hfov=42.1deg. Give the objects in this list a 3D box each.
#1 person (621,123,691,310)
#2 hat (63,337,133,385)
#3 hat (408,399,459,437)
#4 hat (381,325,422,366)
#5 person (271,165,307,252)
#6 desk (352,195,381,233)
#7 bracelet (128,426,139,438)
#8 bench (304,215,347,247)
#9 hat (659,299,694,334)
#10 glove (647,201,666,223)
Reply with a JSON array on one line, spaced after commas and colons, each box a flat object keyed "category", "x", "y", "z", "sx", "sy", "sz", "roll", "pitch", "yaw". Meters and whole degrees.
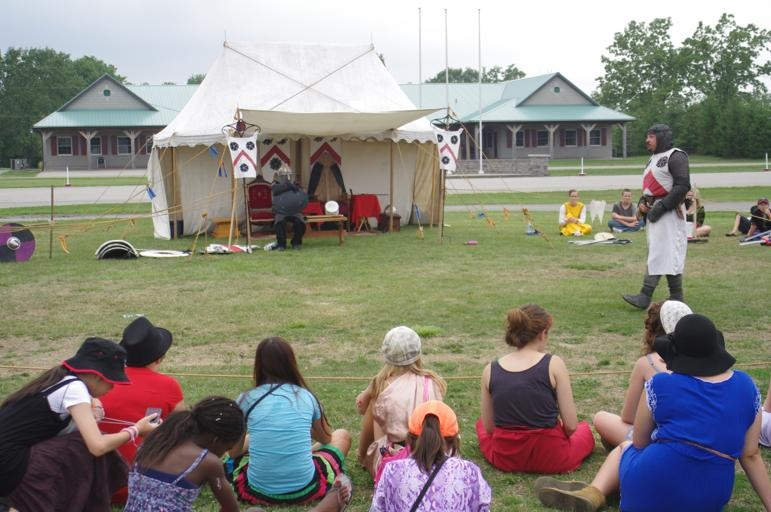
[{"category": "person", "x": 3.784, "y": -0.502, "z": 13.714, "sx": 0.472, "sy": 2.581, "sz": 0.726, "roll": -6, "pitch": 8, "yaw": -40}, {"category": "hat", "x": -2.828, "y": 1.020, "z": 9.834, "sx": 0.752, "sy": 0.343, "sz": 0.609, "roll": 24, "pitch": -8, "yaw": -35}, {"category": "hat", "x": 0.459, "y": 1.538, "z": 9.473, "sx": 0.378, "sy": 0.223, "sz": 0.364, "roll": -1, "pitch": -7, "yaw": 3}, {"category": "hat", "x": 0.168, "y": 0.881, "z": 10.186, "sx": 0.333, "sy": 0.241, "sz": 0.426, "roll": -6, "pitch": 24, "yaw": 4}, {"category": "person", "x": -1.915, "y": -0.876, "z": 19.951, "sx": 0.670, "sy": 1.454, "sz": 0.824, "roll": -2, "pitch": 6, "yaw": -6}, {"category": "desk", "x": -0.444, "y": -1.013, "z": 22.912, "sx": 0.674, "sy": 0.785, "sz": 0.652, "roll": -2, "pitch": 10, "yaw": -10}, {"category": "bracelet", "x": -2.439, "y": 1.704, "z": 9.672, "sx": 0.099, "sy": 0.106, "sz": 0.057, "roll": -21, "pitch": 5, "yaw": -21}, {"category": "bench", "x": -1.235, "y": -0.350, "z": 20.378, "sx": 0.755, "sy": 0.370, "sz": 0.979, "roll": -1, "pitch": 6, "yaw": 0}, {"category": "hat", "x": 2.884, "y": 0.597, "z": 10.094, "sx": 0.279, "sy": 0.339, "sz": 0.353, "roll": -12, "pitch": -22, "yaw": 6}, {"category": "glove", "x": 3.673, "y": -0.601, "z": 13.578, "sx": 0.132, "sy": 0.281, "sz": 0.210, "roll": 35, "pitch": -10, "yaw": -17}]
